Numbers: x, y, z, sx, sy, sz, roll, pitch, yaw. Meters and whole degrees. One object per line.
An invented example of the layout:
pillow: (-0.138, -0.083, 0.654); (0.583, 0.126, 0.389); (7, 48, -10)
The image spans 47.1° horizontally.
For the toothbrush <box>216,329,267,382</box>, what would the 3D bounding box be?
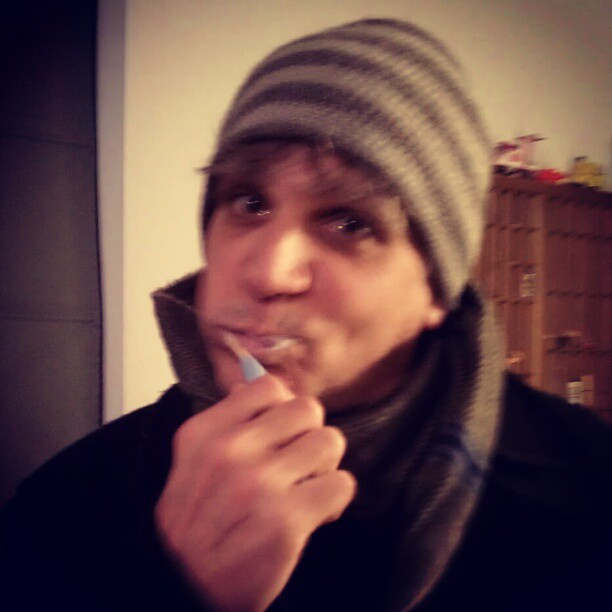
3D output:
toothbrush: (-0.080, 0.051, 0.825); (0.027, 0.026, 0.099); (23, 25, -43)

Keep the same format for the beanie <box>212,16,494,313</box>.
beanie: (0.065, -0.178, 0.858); (0.348, 0.354, 0.104); (0, 6, -16)
